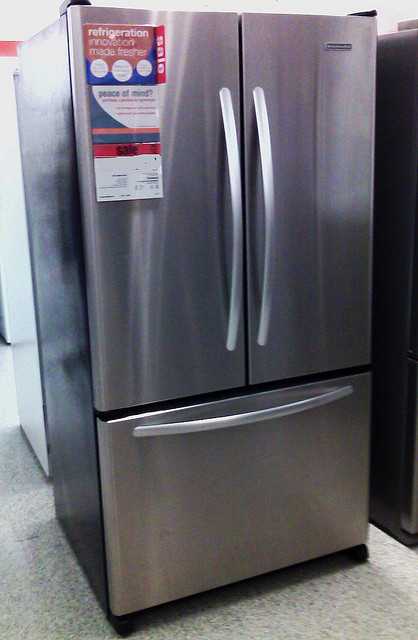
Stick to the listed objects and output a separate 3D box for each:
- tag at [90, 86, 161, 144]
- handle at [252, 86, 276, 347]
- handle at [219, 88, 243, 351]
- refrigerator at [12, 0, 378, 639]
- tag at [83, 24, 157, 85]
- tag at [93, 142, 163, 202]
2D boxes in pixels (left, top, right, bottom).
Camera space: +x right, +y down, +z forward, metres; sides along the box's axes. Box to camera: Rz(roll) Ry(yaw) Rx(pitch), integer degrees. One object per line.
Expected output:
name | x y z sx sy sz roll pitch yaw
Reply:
tag | -0.180 -0.427 1.205 0.142 0.132 0.028 -6 14 -23
handle | 0.140 -0.239 1.379 0.056 0.642 0.076 -1 10 6
handle | 0.055 -0.225 1.337 0.048 0.631 0.069 -2 9 -1
refrigerator | 0.041 0.019 1.514 0.956 1.624 0.464 -4 10 -11
tag | -0.189 -0.559 1.183 0.020 0.165 0.227 24 32 24
tag | -0.173 -0.323 1.224 0.143 0.136 0.032 -4 6 -19
